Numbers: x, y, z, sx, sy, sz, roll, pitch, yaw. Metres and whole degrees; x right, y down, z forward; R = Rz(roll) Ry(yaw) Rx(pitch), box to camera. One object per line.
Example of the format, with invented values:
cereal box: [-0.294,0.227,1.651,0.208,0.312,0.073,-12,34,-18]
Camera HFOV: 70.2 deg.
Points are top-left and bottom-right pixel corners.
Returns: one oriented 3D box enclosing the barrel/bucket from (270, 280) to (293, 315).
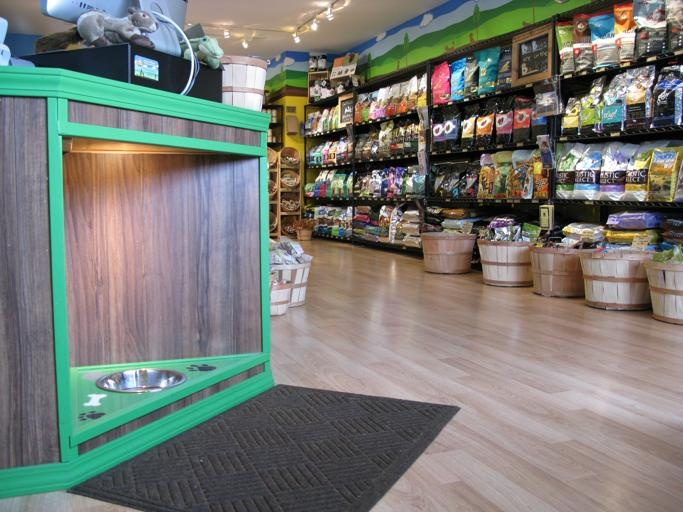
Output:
barrel/bucket: [-0.456,0.305,3.532,0.224,0.173,0.226,1,-2,0]

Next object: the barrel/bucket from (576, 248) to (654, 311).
barrel/bucket: [2.063,0.169,3.619,0.539,0.322,0.488,0,-2,-6]

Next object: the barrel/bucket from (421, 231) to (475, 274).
barrel/bucket: [1.175,-0.041,5.338,0.538,0.292,0.531,0,-1,0]

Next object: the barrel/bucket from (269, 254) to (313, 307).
barrel/bucket: [-0.408,0.195,3.764,0.397,0.276,0.391,0,1,0]

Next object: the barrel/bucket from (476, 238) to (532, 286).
barrel/bucket: [1.574,0.063,4.600,0.513,0.307,0.474,0,0,0]

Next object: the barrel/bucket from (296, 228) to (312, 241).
barrel/bucket: [-0.746,-0.409,9.442,0.286,0.173,0.264,0,0,0]

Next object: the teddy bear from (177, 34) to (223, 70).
teddy bear: [-0.577,-0.835,2.010,0.190,0.079,0.143,8,16,10]
